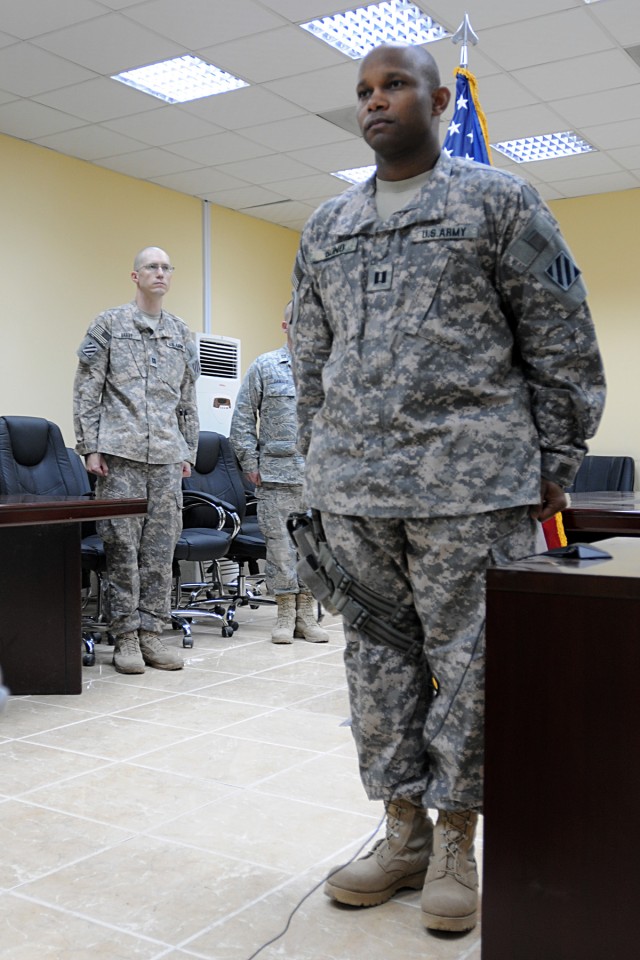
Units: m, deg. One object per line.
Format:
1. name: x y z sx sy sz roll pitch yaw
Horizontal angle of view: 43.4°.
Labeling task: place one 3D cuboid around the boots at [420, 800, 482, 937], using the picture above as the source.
1. boots: 0.213 0.641 1.299 0.082 0.138 0.224 -2 -12 12

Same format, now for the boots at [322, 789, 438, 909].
1. boots: 0.118 0.671 1.490 0.295 0.189 0.108 5 -7 -35

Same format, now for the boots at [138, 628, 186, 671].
1. boots: -0.727 0.782 3.720 0.104 0.125 0.300 0 -1 -42

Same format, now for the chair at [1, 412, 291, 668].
1. chair: -1.046 0.319 4.489 1.432 1.523 1.219 -4 -6 33
